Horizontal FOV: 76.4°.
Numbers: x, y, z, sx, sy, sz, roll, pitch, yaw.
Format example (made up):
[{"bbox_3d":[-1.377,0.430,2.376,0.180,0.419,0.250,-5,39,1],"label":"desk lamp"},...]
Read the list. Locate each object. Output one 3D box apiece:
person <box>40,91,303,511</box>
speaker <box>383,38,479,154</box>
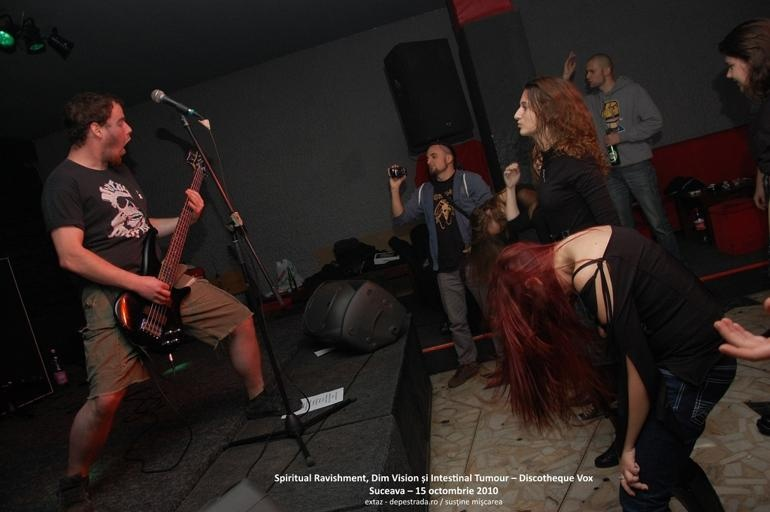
[{"bbox_3d":[-1.478,0.133,2.814,1.231,1.901,0.611,-23,14,-34],"label":"person"},{"bbox_3d":[0.398,-1.473,4.461,0.774,1.033,0.244,-18,2,6],"label":"speaker"}]
